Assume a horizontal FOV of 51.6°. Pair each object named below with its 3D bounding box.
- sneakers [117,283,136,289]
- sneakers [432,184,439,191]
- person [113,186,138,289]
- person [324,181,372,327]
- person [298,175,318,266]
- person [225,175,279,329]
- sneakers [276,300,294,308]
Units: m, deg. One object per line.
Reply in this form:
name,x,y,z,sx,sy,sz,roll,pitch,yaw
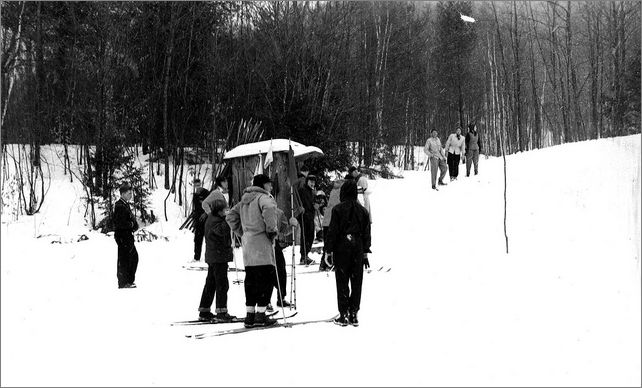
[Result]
sneakers,-7.084,3.345,24.307,0.619,0.199,0.257,1,-2,-23
sneakers,5.595,-0.330,32.512,0.204,0.286,0.262,-2,7,31
person,-7.248,1.563,24.578,0.851,3.775,0.614,1,-2,-20
person,0.886,1.864,21.505,1.379,4.666,0.583,0,-2,-3
person,-0.571,1.014,26.814,0.634,3.597,1.471,0,-2,-1
person,-2.094,1.792,21.251,1.416,4.862,0.546,0,-2,-1
sneakers,-1.207,3.682,22.245,0.592,0.333,0.219,0,1,-14
